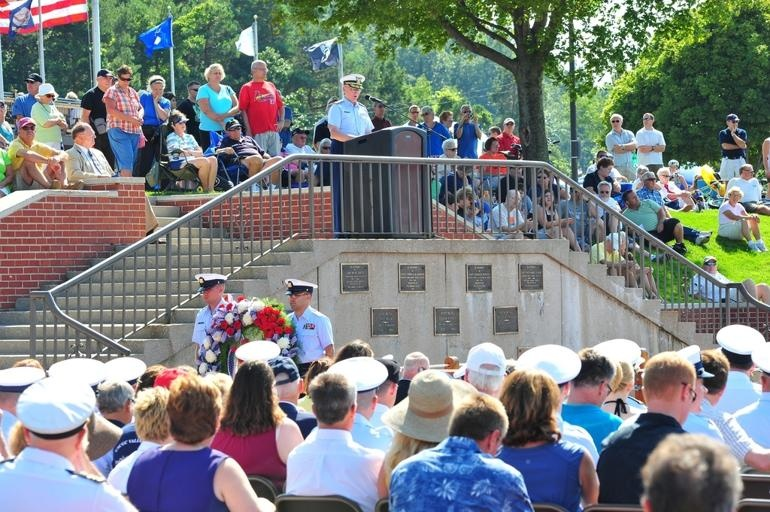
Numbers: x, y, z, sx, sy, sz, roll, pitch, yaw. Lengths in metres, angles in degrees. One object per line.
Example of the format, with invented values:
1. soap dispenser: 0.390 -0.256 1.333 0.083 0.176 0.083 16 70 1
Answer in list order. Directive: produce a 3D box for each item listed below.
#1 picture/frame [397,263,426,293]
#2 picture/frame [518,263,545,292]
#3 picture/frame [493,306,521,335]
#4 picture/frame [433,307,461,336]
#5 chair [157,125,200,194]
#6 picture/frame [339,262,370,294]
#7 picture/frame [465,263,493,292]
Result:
1. picture/frame: 0.621 0.516 50.092 0.691 0.660 0.111 3 -7 -17
2. picture/frame: 3.704 0.520 50.890 0.686 0.656 0.094 2 -9 -26
3. picture/frame: 3.059 1.615 50.714 0.693 0.630 0.097 2 -8 -25
4. picture/frame: 1.524 1.634 50.323 0.708 0.678 0.122 1 1 -13
5. chair: -5.545 -2.304 52.789 1.324 2.233 0.801 5 -3 -15
6. picture/frame: -0.807 0.539 49.751 0.742 0.712 0.107 2 -8 -18
7. picture/frame: 2.336 0.522 50.534 0.701 0.677 0.099 1 -5 -16
